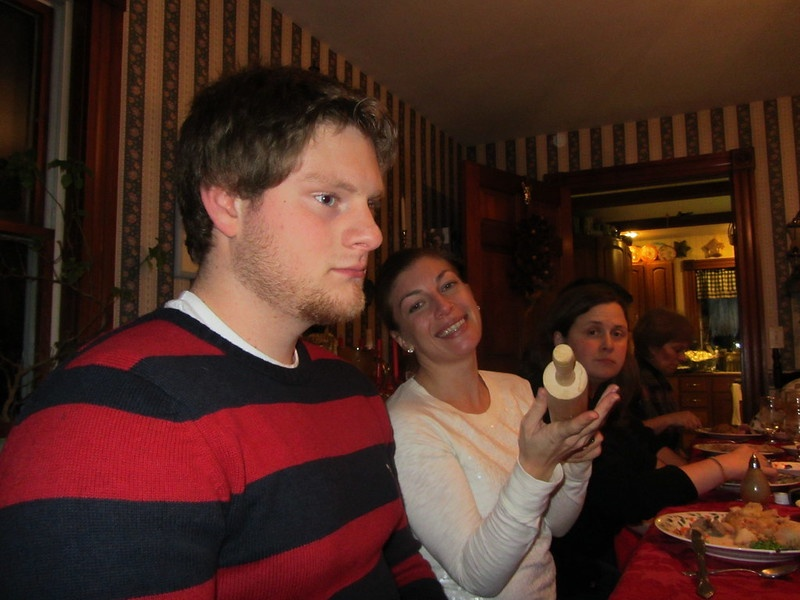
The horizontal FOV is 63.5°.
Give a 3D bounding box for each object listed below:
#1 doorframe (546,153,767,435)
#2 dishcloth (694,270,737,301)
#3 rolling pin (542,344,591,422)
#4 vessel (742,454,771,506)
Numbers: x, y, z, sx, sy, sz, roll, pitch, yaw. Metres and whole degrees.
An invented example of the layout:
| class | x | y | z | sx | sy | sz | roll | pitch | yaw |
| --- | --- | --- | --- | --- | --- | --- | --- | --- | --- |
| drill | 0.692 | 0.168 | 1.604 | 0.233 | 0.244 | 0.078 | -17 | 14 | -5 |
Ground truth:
| class | x | y | z | sx | sy | sz | roll | pitch | yaw |
| --- | --- | --- | --- | --- | --- | --- | --- | --- | --- |
| doorframe | 2.104 | -0.100 | 5.335 | 1.531 | 2.166 | 0.143 | -9 | 29 | 18 |
| dishcloth | 4.218 | -0.169 | 8.599 | 0.398 | 0.351 | 0.040 | -1 | 1 | 23 |
| rolling pin | 0.362 | 0.189 | 1.418 | 0.090 | 0.182 | 0.205 | -1 | -2 | 14 |
| vessel | 1.047 | 0.542 | 1.910 | 0.071 | 0.132 | 0.192 | -3 | -3 | 38 |
